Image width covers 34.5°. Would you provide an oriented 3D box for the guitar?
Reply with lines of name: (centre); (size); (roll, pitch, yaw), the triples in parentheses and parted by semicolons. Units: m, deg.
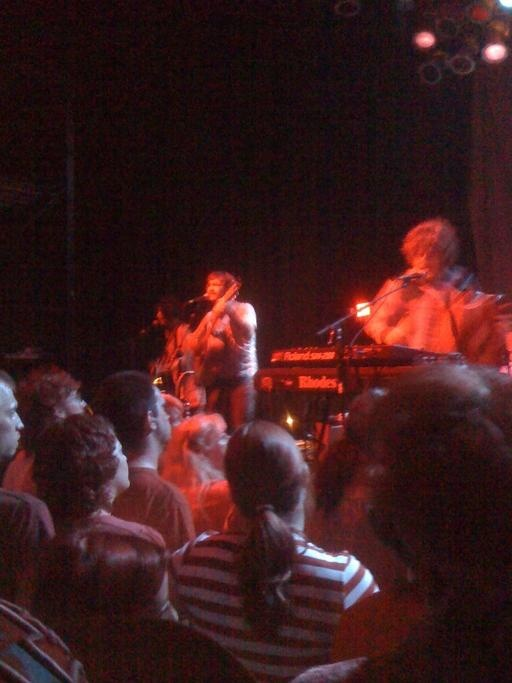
guitar: (-0.218, -0.044, 4.033); (0.093, 0.530, 0.210); (10, 11, -31)
